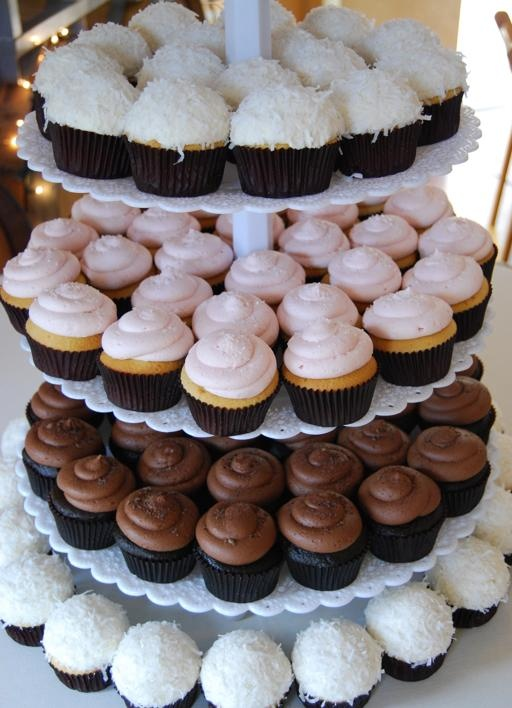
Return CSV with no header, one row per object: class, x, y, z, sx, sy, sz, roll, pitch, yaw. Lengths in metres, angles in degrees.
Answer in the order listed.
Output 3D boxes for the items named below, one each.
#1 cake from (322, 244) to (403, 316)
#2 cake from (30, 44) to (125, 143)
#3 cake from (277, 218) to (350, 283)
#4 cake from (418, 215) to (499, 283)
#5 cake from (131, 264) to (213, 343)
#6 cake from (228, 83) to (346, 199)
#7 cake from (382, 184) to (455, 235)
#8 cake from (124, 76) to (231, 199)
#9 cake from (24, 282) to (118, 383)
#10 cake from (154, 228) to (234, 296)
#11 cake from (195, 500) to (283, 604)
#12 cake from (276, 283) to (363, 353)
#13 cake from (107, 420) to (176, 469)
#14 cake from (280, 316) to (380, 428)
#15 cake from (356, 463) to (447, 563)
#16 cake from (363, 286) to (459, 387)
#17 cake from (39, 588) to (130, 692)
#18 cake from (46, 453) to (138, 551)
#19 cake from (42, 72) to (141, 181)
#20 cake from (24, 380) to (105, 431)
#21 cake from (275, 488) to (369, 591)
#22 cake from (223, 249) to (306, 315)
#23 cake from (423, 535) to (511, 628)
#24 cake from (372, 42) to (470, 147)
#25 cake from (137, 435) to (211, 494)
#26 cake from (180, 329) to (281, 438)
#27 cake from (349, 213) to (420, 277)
cake,0.255,-0.186,1.569,0.180,0.111,0.165,6,37,14
cake,-0.370,-0.559,1.412,0.209,0.117,0.212,-3,57,-12
cake,0.149,-0.285,1.767,0.187,0.100,0.165,4,44,7
cake,0.545,-0.302,1.817,0.185,0.147,0.165,-8,50,3
cake,-0.198,-0.125,1.561,0.167,0.089,0.150,6,31,2
cake,0.062,-0.432,1.333,0.232,0.180,0.244,-2,32,1
cake,0.481,-0.426,1.902,0.178,0.081,0.172,-3,30,5
cake,-0.160,-0.438,1.359,0.218,0.227,0.139,-3,31,-1
cake,-0.407,-0.066,1.547,0.227,0.181,0.212,0,39,-10
cake,-0.144,-0.245,1.643,0.181,0.139,0.161,1,38,-3
cake,-0.041,0.405,1.483,0.200,0.187,0.224,-4,32,-6
cake,0.136,-0.102,1.469,0.147,0.084,0.143,25,52,30
cake,-0.332,0.231,1.761,0.144,0.078,0.125,-1,43,-2
cake,0.122,0.026,1.442,0.233,0.210,0.214,-7,32,-2
cake,0.343,0.376,1.560,0.198,0.188,0.172,-5,30,-4
cake,0.343,-0.058,1.548,0.218,0.185,0.215,-7,32,5
cake,-0.398,0.650,1.585,0.221,0.166,0.221,-3,39,-10
cake,-0.355,0.351,1.650,0.242,0.228,0.229,2,29,-6
cake,-0.320,-0.487,1.415,0.228,0.174,0.225,1,43,-6
cake,-0.568,0.144,1.942,0.171,0.132,0.155,-3,34,-13
cake,0.132,0.398,1.515,0.205,0.173,0.221,-4,26,-2
cake,0.024,-0.183,1.552,0.165,0.091,0.147,-2,34,-2
cake,0.516,0.574,1.741,0.229,0.175,0.227,0,48,1
cake,0.388,-0.622,1.607,0.225,0.169,0.227,5,53,4
cake,-0.204,0.274,1.638,0.147,0.085,0.143,29,40,30
cake,-0.045,0.038,1.391,0.209,0.183,0.214,0,40,-2
cake,0.353,-0.296,1.797,0.176,0.098,0.172,22,42,30
